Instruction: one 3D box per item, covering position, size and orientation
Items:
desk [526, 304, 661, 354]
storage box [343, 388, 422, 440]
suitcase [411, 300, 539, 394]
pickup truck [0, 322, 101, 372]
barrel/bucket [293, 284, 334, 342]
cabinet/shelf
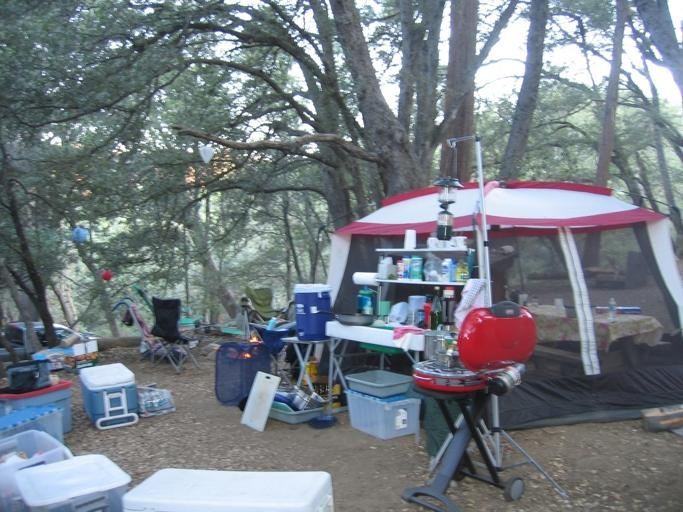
[{"bbox_3d":[3.200,0.934,6.730,1.388,0.226,0.805,1,4,40],"label":"desk"},{"bbox_3d":[0.446,1.749,5.786,0.553,0.250,0.737,0,1,-37],"label":"storage box"},{"bbox_3d":[1.016,0.812,4.604,1.124,0.635,1.299,5,-12,-42],"label":"suitcase"},{"bbox_3d":[-5.598,1.712,10.231,2.161,0.596,1.076,-5,6,-33],"label":"pickup truck"},{"bbox_3d":[-0.347,0.695,6.399,0.465,0.656,0.368,-4,11,-3],"label":"barrel/bucket"},{"bbox_3d":[0.938,0.092,5.917,1.124,0.248,0.291,-1,-8,31],"label":"cabinet/shelf"}]
